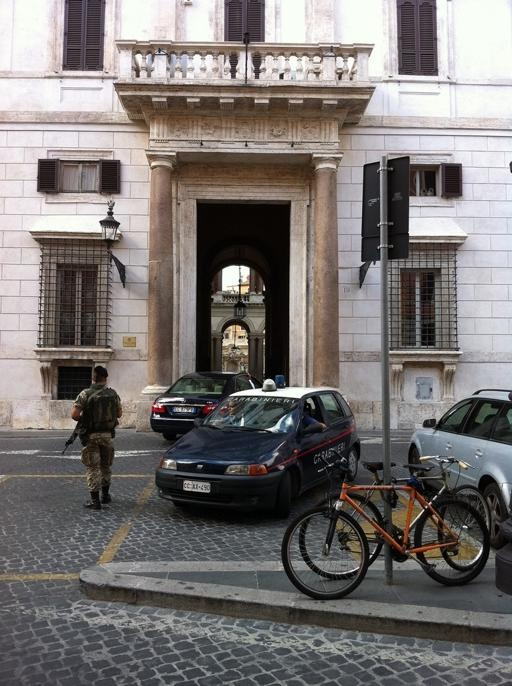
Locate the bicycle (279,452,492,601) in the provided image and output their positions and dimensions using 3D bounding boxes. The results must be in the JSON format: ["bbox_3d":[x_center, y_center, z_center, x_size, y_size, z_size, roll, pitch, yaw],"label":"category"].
[{"bbox_3d":[0.944,1.520,7.333,1.855,1.074,0.848,0,-4,-14],"label":"bicycle"}]

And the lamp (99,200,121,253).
[{"bbox_3d":[-3.014,-2.475,17.956,0.418,0.976,0.392,8,12,8],"label":"lamp"}]

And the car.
[{"bbox_3d":[-0.928,1.033,15.092,0.930,0.646,2.010,-1,4,17],"label":"car"}]

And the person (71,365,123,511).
[{"bbox_3d":[-1.748,1.028,9.576,0.409,1.541,0.683,1,-1,10],"label":"person"}]

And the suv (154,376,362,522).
[{"bbox_3d":[0.040,1.114,9.856,1.260,1.003,2.199,-5,-6,26],"label":"suv"}]
